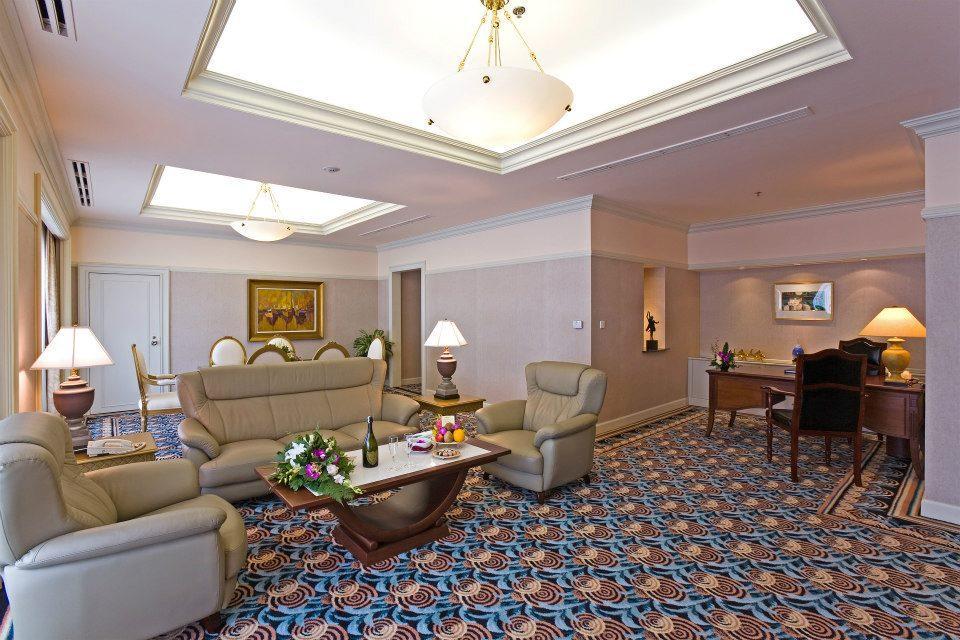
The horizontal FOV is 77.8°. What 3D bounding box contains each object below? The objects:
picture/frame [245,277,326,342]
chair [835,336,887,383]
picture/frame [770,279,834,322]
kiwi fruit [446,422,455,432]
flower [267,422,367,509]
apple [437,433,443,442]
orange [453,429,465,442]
[{"bbox_3d":[-3.531,-0.179,10.655,1.212,0.969,0.087,-2,5,-36],"label":"picture/frame"},{"bbox_3d":[4.253,0.460,6.631,0.436,0.758,0.438,4,-7,-24],"label":"chair"},{"bbox_3d":[4.700,-0.282,8.614,0.047,0.505,0.656,1,-1,-42],"label":"picture/frame"},{"bbox_3d":[-0.268,1.004,5.542,0.087,0.077,0.031,-2,1,-31],"label":"kiwi fruit"},{"bbox_3d":[-1.302,1.172,4.717,0.641,0.344,0.637,17,24,16],"label":"flower"},{"bbox_3d":[-0.360,1.091,5.472,0.070,0.059,0.058,6,14,-35],"label":"apple"},{"bbox_3d":[-0.168,1.089,5.559,0.102,0.103,0.102,-14,22,23],"label":"orange"}]
